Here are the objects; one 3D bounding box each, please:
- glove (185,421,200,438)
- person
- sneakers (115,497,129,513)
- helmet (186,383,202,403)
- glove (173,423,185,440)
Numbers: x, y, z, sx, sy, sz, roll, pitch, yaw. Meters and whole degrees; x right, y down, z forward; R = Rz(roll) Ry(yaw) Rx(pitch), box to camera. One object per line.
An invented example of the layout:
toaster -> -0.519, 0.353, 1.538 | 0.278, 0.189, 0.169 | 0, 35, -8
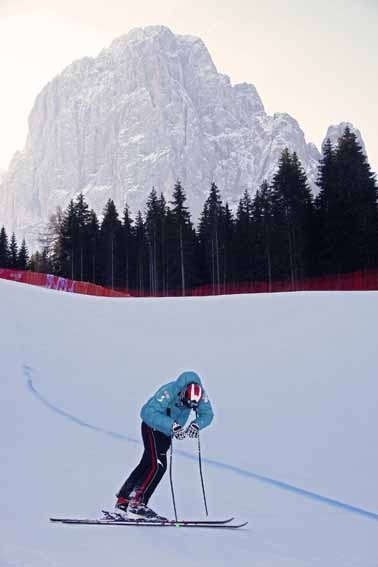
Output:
glove -> 0.028, 1.622, 10.668 | 0.112, 0.178, 0.058 | 12, -13, -1
person -> -0.306, 1.838, 10.811 | 1.041, 1.732, 0.549 | 2, 10, 13
sneakers -> -0.749, 2.464, 10.837 | 0.133, 0.190, 0.150 | 14, -13, -40
helmet -> 0.047, 1.198, 10.510 | 0.116, 0.223, 0.172 | 4, -9, -3
glove -> -0.122, 1.622, 10.558 | 0.122, 0.209, 0.213 | 0, 11, 1
